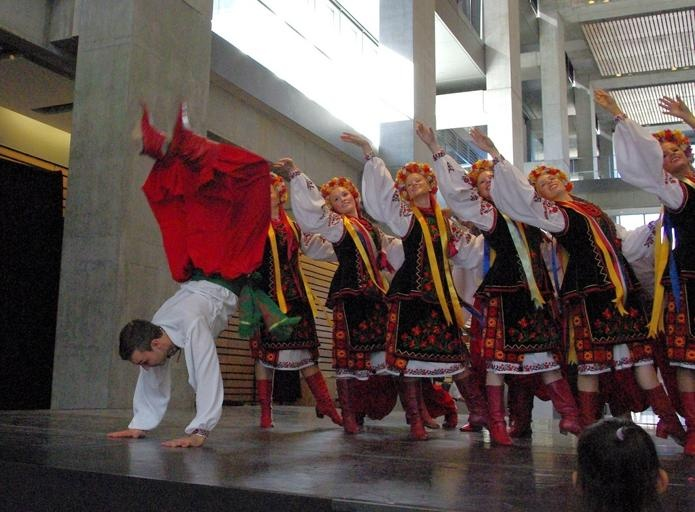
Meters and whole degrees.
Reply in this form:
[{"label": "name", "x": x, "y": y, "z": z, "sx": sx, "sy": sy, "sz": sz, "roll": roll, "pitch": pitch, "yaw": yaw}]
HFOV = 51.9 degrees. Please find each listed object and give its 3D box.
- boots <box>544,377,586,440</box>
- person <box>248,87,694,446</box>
[{"label": "boots", "x": 1.240, "y": 0.863, "z": 4.075, "sx": 0.175, "sy": 0.333, "sz": 0.290, "roll": -6, "pitch": -9, "yaw": 16}, {"label": "person", "x": 1.256, "y": 0.093, "z": 4.094, "sx": 1.556, "sy": 2.000, "sz": 0.556, "roll": -5, "pitch": -9, "yaw": 6}]
